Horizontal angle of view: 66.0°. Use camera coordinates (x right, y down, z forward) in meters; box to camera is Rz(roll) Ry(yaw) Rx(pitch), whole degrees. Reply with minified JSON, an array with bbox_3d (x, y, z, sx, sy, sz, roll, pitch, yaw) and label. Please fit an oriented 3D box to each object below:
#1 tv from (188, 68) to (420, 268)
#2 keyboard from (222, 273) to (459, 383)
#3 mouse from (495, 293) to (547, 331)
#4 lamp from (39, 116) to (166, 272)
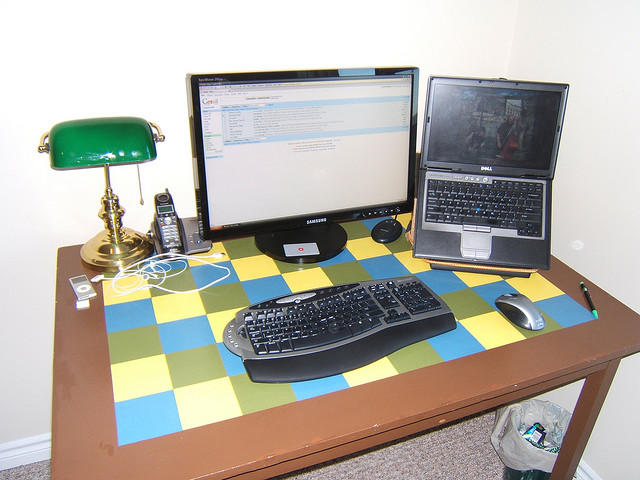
[{"bbox_3d":[-0.016,-0.249,1.517,0.707,0.547,0.274,-8,26,-18],"label":"tv"},{"bbox_3d":[0.061,0.225,1.303,0.613,0.106,0.250,-10,28,-18],"label":"keyboard"},{"bbox_3d":[0.560,0.193,1.363,0.082,0.035,0.120,-11,38,-19],"label":"mouse"},{"bbox_3d":[-0.636,-0.151,1.488,0.342,0.438,0.230,-8,27,-24],"label":"lamp"}]
